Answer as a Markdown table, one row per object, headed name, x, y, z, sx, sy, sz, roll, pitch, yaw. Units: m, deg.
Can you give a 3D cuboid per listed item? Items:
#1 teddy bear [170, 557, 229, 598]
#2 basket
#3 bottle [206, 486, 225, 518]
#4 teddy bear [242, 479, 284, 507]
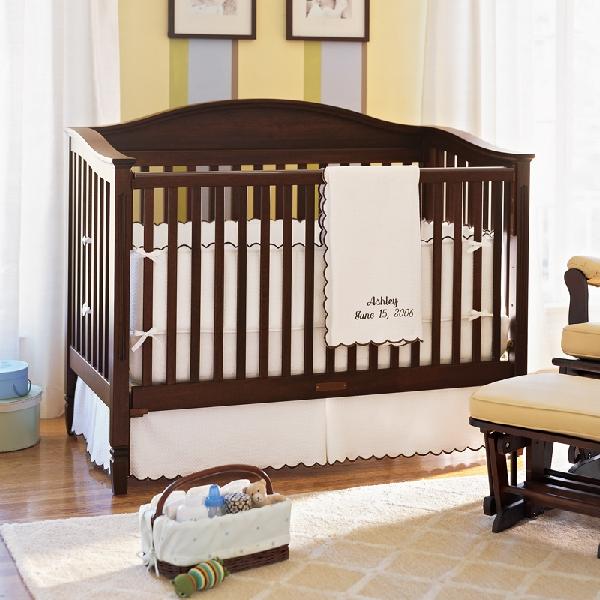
| name | x | y | z | sx | sy | sz | roll | pitch | yaw |
| --- | --- | --- | --- | --- | --- | --- | --- | --- | --- |
| teddy bear | -0.190 | 0.495 | 1.214 | 0.045 | 0.050 | 0.087 | -2 | 9 | 34 |
| basket | -0.167 | 0.420 | 1.362 | 0.283 | 0.225 | 0.181 | -5 | 6 | -29 |
| bottle | -0.168 | 0.395 | 1.297 | 0.038 | 0.053 | 0.086 | 0 | 1 | -7 |
| teddy bear | -0.073 | 0.382 | 1.349 | 0.046 | 0.052 | 0.067 | -3 | 5 | -27 |
